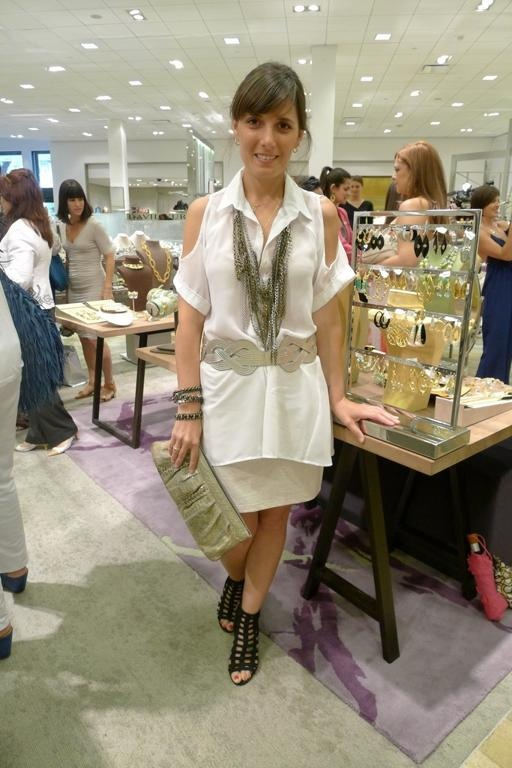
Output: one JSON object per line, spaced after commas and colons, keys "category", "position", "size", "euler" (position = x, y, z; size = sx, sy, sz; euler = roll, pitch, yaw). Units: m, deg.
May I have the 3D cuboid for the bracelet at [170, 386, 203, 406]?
{"category": "bracelet", "position": [-0.174, 0.027, 1.175], "size": [0.056, 0.032, 0.043], "euler": [-8, -12, 43]}

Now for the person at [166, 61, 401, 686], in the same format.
{"category": "person", "position": [0.047, 0.055, 1.222], "size": [0.520, 1.471, 0.337], "euler": [-3, 12, -10]}

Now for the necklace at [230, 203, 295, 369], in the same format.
{"category": "necklace", "position": [0.013, -0.209, 1.065], "size": [0.117, 0.313, 0.045], "euler": [0, 11, 4]}

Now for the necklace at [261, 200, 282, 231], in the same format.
{"category": "necklace", "position": [0.044, -0.376, 1.116], "size": [0.028, 0.095, 0.013], "euler": [0, -33, 50]}

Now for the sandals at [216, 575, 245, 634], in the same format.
{"category": "sandals", "position": [-0.072, 0.671, 1.549], "size": [0.067, 0.074, 0.195], "euler": [0, 15, 4]}

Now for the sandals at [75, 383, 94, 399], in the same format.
{"category": "sandals", "position": [-1.349, 0.057, 3.972], "size": [0.087, 0.095, 0.252], "euler": [1, 5, 9]}

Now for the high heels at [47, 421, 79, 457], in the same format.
{"category": "high heels", "position": [-1.158, 0.343, 3.020], "size": [0.083, 0.110, 0.244], "euler": [-1, 18, 23]}

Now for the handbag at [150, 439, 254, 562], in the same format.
{"category": "handbag", "position": [-0.106, 0.242, 1.187], "size": [0.065, 0.163, 0.304], "euler": [-7, 55, -44]}
